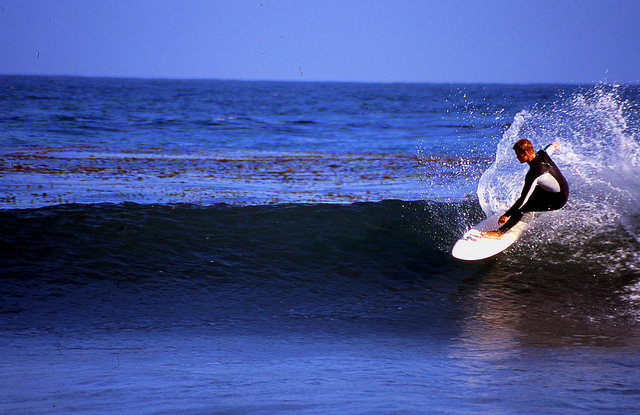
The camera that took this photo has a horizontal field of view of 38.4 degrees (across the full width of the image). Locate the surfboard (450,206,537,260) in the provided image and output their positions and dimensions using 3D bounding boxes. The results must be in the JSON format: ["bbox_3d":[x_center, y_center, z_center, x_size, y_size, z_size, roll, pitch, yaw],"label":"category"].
[{"bbox_3d":[4.824,0.804,26.313,1.137,0.462,3.657,44,47,14],"label":"surfboard"}]
